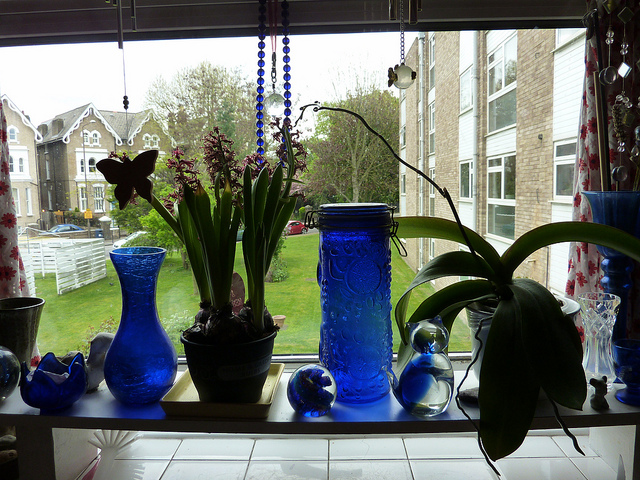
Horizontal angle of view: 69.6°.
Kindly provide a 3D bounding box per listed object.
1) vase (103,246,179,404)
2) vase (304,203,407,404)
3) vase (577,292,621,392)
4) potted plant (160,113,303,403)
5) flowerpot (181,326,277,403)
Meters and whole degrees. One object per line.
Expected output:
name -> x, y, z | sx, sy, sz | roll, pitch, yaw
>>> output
vase -> -0.461, 0.221, 1.154 | 0.174, 0.393, 0.106 | -7, 14, -22
vase -> 0.092, 0.158, 1.164 | 0.195, 0.494, 0.134 | 1, 13, 9
vase -> 0.718, 0.264, 1.211 | 0.115, 0.230, 0.096 | -11, 16, -36
potted plant -> -0.237, 0.071, 1.189 | 0.359, 0.683, 0.344 | 0, -1, 14
flowerpot -> -0.226, 0.277, 1.072 | 0.183, 0.129, 0.185 | 1, -2, -15
